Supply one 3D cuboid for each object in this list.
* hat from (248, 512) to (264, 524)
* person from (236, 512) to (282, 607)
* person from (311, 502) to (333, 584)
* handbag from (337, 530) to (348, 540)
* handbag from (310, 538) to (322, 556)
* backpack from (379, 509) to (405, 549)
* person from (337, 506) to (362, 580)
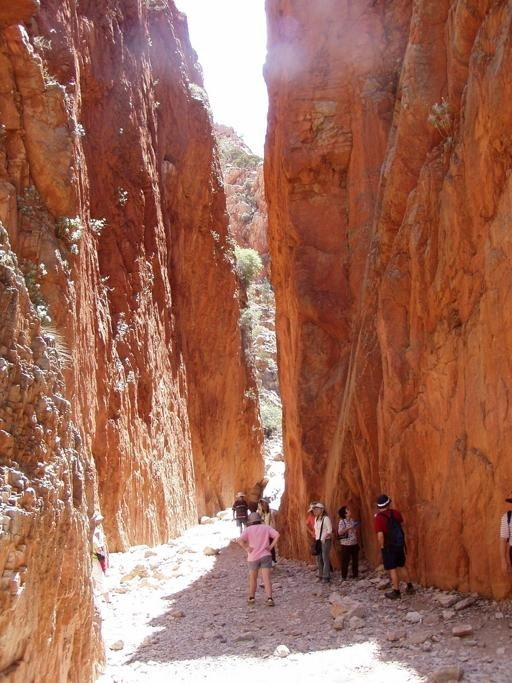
[{"bbox_3d":[-0.024,2.240,8.301,0.167,0.170,0.345,-7,-9,-2],"label":"hat"},{"bbox_3d":[0.037,2.773,8.463,0.479,1.180,0.779,-5,-7,-3],"label":"person"},{"bbox_3d":[0.896,2.811,9.229,0.244,1.146,0.329,-7,3,-38],"label":"person"},{"bbox_3d":[1.160,2.662,8.993,0.100,0.108,0.232,-3,-11,-26],"label":"handbag"},{"bbox_3d":[0.834,2.872,9.152,0.159,0.229,0.227,-7,-8,3],"label":"handbag"},{"bbox_3d":[1.560,2.125,7.465,0.267,0.594,0.318,-3,-37,6],"label":"backpack"},{"bbox_3d":[1.275,2.778,9.082,0.277,0.988,0.486,-6,-7,7],"label":"person"}]
